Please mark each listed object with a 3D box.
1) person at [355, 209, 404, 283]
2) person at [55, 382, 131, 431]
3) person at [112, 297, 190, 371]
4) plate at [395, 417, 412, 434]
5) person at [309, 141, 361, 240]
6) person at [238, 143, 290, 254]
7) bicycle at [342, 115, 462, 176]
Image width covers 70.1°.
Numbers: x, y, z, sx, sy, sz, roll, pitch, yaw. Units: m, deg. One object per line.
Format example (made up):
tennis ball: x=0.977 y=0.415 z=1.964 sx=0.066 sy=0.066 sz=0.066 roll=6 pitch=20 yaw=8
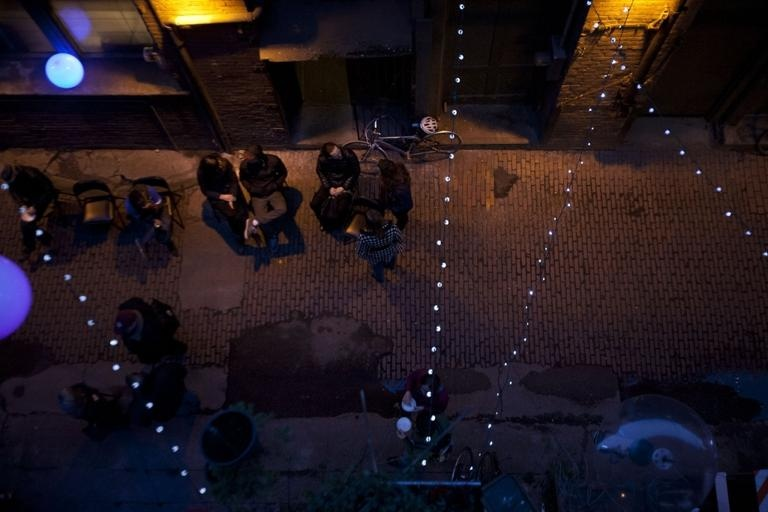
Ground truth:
person: x=-0.085 y=-0.286 z=11.154 sx=0.943 sy=2.011 sz=0.747 roll=-23 pitch=59 yaw=-9
person: x=-5.876 y=3.076 z=11.158 sx=0.709 sy=1.262 sz=0.803 roll=-14 pitch=66 yaw=-6
person: x=-4.730 y=1.450 z=11.166 sx=0.996 sy=1.567 sz=1.089 roll=-12 pitch=52 yaw=-4
plate: x=0.390 y=3.209 z=10.460 sx=0.310 sy=0.309 sz=0.321 roll=19 pitch=75 yaw=13
person: x=-1.052 y=-1.434 z=11.312 sx=0.969 sy=1.699 sz=1.219 roll=7 pitch=53 yaw=11
person: x=-2.595 y=-1.299 z=11.624 sx=1.200 sy=1.948 sz=1.232 roll=-11 pitch=52 yaw=-3
bicycle: x=0.423 y=-2.436 z=12.178 sx=3.056 sy=1.513 sz=0.702 roll=0 pitch=73 yaw=1
